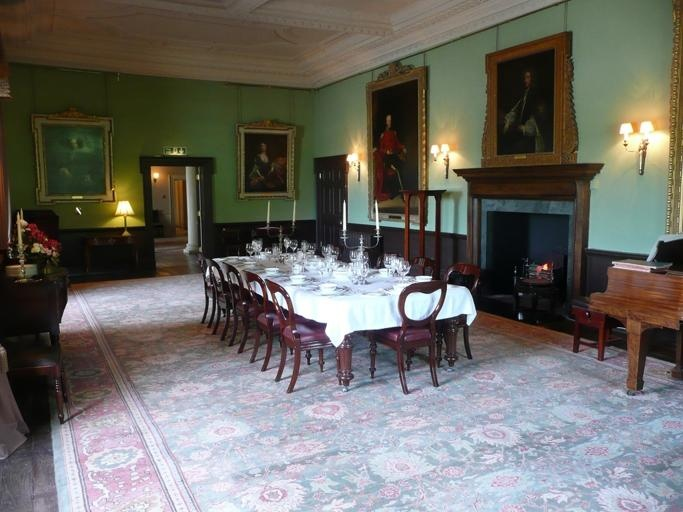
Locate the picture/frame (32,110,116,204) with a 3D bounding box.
[{"bbox_3d":[-6.082,-2.234,10.933,1.618,2.034,0.086,-5,11,-25],"label":"picture/frame"}]

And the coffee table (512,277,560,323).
[{"bbox_3d":[3.106,0.710,7.662,0.660,0.774,0.813,-1,1,-19],"label":"coffee table"}]

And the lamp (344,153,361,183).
[{"bbox_3d":[0.269,-2.163,11.764,0.242,0.673,0.472,-5,10,-24],"label":"lamp"}]

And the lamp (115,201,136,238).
[{"bbox_3d":[-5.114,-0.897,11.400,0.430,0.837,0.586,-6,11,-26],"label":"lamp"}]

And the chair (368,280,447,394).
[{"bbox_3d":[0.679,0.790,4.945,0.767,1.149,0.518,0,10,2],"label":"chair"}]

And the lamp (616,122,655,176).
[{"bbox_3d":[3.825,-1.411,6.294,0.205,0.705,0.461,-6,11,-29],"label":"lamp"}]

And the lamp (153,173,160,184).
[{"bbox_3d":[-8.128,-3.402,21.083,0.294,0.436,0.118,-6,11,-29],"label":"lamp"}]

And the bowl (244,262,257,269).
[{"bbox_3d":[-1.298,0.134,6.850,0.113,0.046,0.116,2,3,0],"label":"bowl"}]

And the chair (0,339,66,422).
[{"bbox_3d":[-2.760,1.137,4.343,0.415,0.682,0.494,-6,11,-29],"label":"chair"}]

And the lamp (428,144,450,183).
[{"bbox_3d":[1.848,-1.807,9.213,0.182,0.675,0.543,-6,11,-29],"label":"lamp"}]
